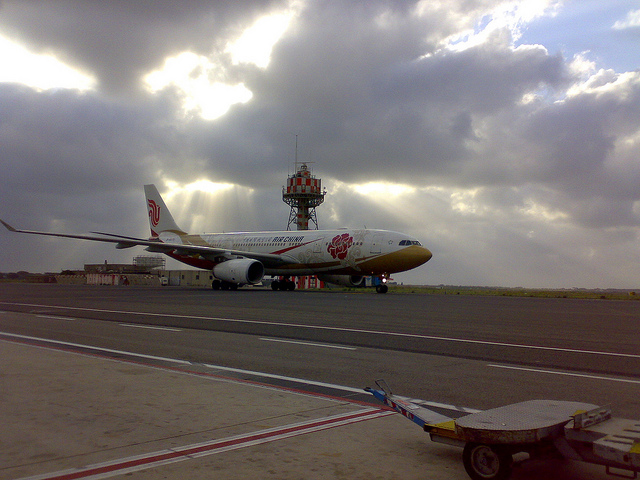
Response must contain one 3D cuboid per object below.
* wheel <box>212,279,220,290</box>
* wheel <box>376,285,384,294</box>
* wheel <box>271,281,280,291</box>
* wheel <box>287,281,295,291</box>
[{"bbox_3d":[-8.822,3.640,40.030,0.540,0.791,0.507,1,-8,0],"label":"wheel"},{"bbox_3d":[4.568,3.617,36.009,0.364,0.877,0.956,-1,-1,-20],"label":"wheel"},{"bbox_3d":[-3.960,3.906,42.452,0.770,0.524,0.709,-1,-5,0],"label":"wheel"},{"bbox_3d":[-2.617,3.973,42.553,0.703,0.737,0.880,2,-2,-28],"label":"wheel"}]
